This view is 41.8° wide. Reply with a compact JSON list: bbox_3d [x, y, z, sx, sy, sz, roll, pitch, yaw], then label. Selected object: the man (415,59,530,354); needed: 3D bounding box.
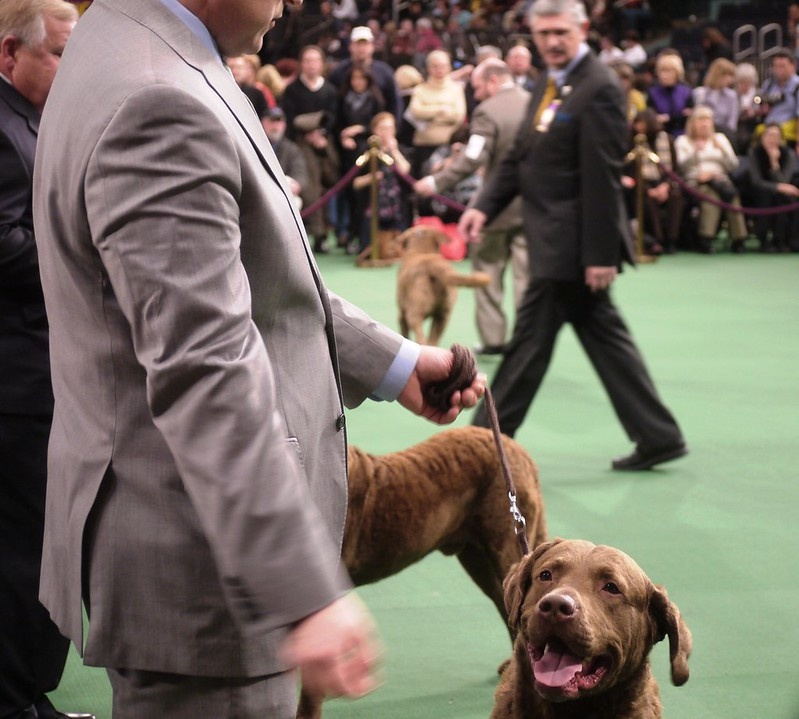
[{"bbox_3d":[0.615,-1.178,8.185,0.965,2.243,0.821,-9,14,-33],"label":"man"}]
